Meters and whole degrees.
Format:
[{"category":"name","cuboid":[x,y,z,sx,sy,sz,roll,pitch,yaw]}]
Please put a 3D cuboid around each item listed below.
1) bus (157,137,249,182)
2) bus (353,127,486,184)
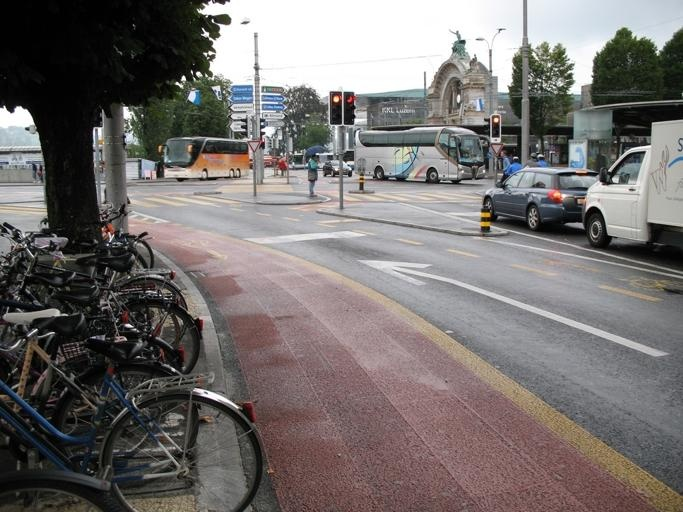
[{"category":"bus","cuboid":[-11.837,-9.212,55.042,10.640,3.905,5.556,-10,14,-43]},{"category":"bus","cuboid":[5.811,-7.890,47.571,4.240,4.951,12.836,-5,6,-35]}]
